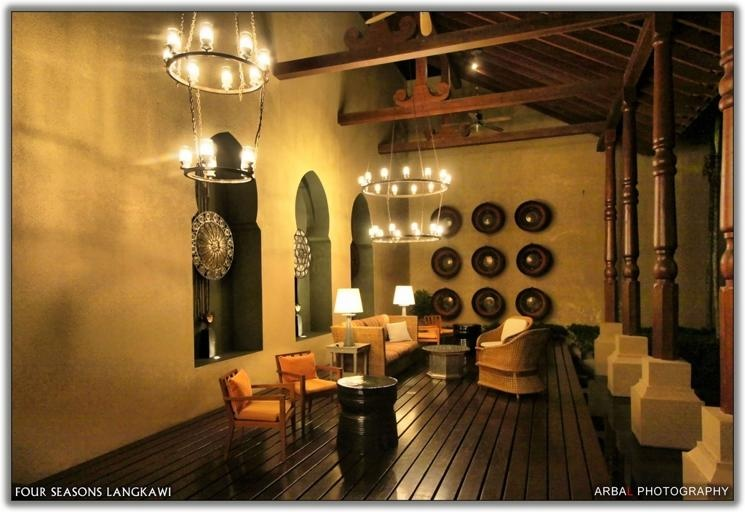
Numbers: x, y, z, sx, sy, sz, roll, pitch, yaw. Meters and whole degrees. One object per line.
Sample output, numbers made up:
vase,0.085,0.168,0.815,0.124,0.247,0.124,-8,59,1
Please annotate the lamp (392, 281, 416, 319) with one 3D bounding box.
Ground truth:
lamp,0.679,0.874,11.050,0.638,0.880,0.644,-1,1,8

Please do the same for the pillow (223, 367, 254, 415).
pillow,-1.573,1.627,6.696,0.231,0.467,0.633,1,-1,2

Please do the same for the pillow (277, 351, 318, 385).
pillow,-1.014,1.521,7.595,0.591,0.413,0.207,-2,-37,-24

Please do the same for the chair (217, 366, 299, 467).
chair,-1.325,1.822,6.673,0.821,0.853,0.693,0,2,8

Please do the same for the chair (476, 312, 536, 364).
chair,2.265,1.347,9.434,0.768,1.004,0.766,3,-5,-18

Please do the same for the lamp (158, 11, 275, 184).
lamp,-1.744,-1.852,6.386,1.211,1.940,1.162,0,-2,-45

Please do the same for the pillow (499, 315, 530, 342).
pillow,2.362,1.211,9.556,0.451,0.496,0.446,-2,5,-10

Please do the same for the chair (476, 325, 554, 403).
chair,2.268,1.594,8.729,0.917,1.039,1.127,1,-2,-32

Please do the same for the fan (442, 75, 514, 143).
fan,2.389,-3.154,12.619,1.089,0.979,0.999,-12,19,-29

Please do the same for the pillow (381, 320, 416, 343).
pillow,0.477,1.432,10.555,0.404,0.376,0.126,-5,-20,-33

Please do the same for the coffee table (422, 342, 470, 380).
coffee table,1.238,1.789,9.476,0.731,0.499,0.589,2,9,10

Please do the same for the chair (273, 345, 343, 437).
chair,-0.867,1.772,7.476,0.655,0.888,0.701,1,1,37
